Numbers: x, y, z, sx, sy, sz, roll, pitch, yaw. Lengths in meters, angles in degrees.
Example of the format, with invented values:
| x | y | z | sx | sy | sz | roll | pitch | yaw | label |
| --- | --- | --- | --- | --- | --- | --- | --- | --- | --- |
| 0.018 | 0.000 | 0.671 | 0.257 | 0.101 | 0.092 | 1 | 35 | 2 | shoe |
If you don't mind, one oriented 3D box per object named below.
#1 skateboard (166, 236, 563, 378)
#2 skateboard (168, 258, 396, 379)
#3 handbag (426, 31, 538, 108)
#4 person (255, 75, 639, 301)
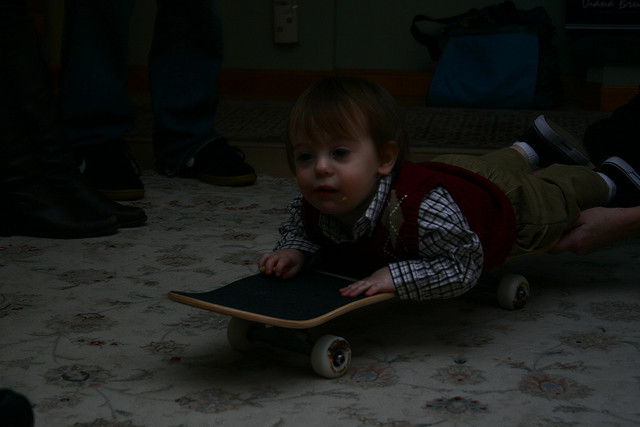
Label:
| x | y | z | sx | sy | sz | roll | pitch | yaw | label |
| --- | --- | --- | --- | --- | --- | --- | --- | --- | --- |
| 0.143 | 0.145 | 1.033 | 0.878 | 0.126 | 0.245 | -7 | 11 | -42 | skateboard |
| -0.048 | 0.162 | 0.855 | 0.204 | 0.094 | 0.366 | 9 | 13 | 40 | skateboard |
| 1.025 | -0.890 | 2.726 | 0.577 | 0.442 | 0.691 | 9 | 37 | 27 | handbag |
| 0.355 | -0.049 | 1.221 | 1.000 | 0.353 | 0.503 | -8 | 5 | -40 | person |
